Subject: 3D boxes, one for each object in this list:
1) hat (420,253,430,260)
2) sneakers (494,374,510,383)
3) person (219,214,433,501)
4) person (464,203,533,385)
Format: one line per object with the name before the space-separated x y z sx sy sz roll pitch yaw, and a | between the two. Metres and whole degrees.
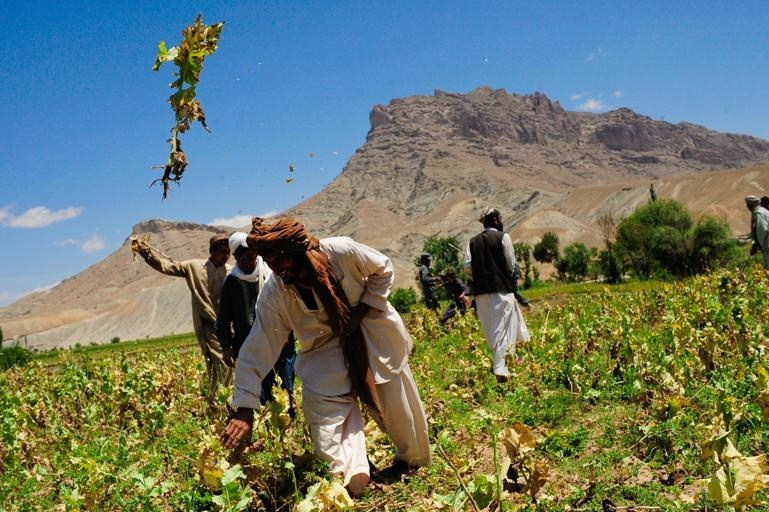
hat | 1.040 0.000 13.105 0.291 0.142 0.322 2 3 -4
sneakers | 1.445 1.498 6.234 0.109 0.104 0.091 0 -9 28
person | -0.492 0.870 4.394 1.454 2.376 0.562 -14 3 -26
person | 1.490 0.505 6.801 0.858 2.298 0.634 -2 -8 1
